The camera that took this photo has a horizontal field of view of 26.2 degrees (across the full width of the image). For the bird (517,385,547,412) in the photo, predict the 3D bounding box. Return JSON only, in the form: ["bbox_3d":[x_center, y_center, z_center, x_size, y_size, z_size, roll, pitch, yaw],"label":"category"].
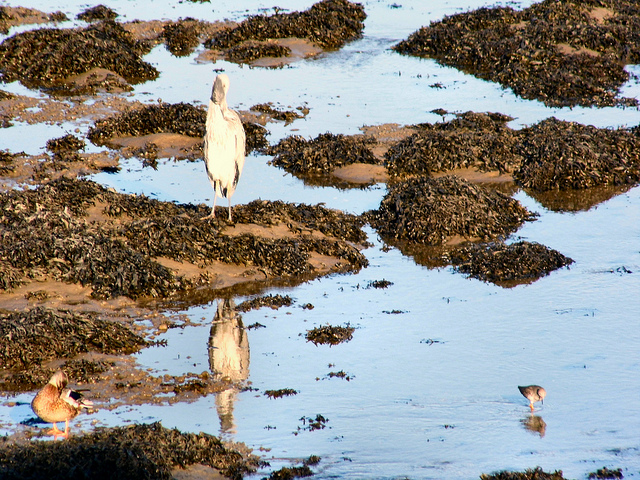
[{"bbox_3d":[6.261,4.646,40.550,0.814,0.571,0.701,12,50,10],"label":"bird"}]
